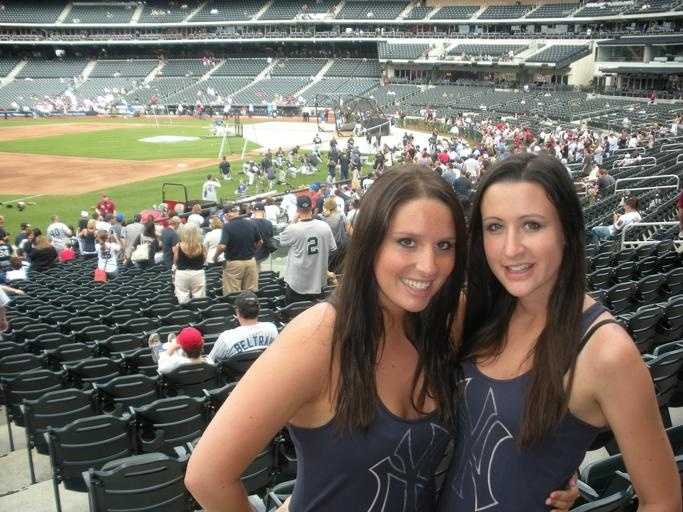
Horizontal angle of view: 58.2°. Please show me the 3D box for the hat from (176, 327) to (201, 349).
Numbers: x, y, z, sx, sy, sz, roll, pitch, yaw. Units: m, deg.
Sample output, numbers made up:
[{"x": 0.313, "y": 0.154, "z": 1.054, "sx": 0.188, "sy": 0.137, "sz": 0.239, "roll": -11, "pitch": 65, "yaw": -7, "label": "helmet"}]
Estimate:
[{"x": -1.539, "y": 0.834, "z": 6.214, "sx": 0.175, "sy": 0.139, "sz": 0.239, "roll": -12, "pitch": 38, "yaw": -22, "label": "hat"}]

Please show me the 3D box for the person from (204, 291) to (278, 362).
[{"x": -1.108, "y": 0.792, "z": 6.718, "sx": 0.614, "sy": 0.816, "sz": 0.398, "roll": -3, "pitch": 38, "yaw": -19, "label": "person"}]
